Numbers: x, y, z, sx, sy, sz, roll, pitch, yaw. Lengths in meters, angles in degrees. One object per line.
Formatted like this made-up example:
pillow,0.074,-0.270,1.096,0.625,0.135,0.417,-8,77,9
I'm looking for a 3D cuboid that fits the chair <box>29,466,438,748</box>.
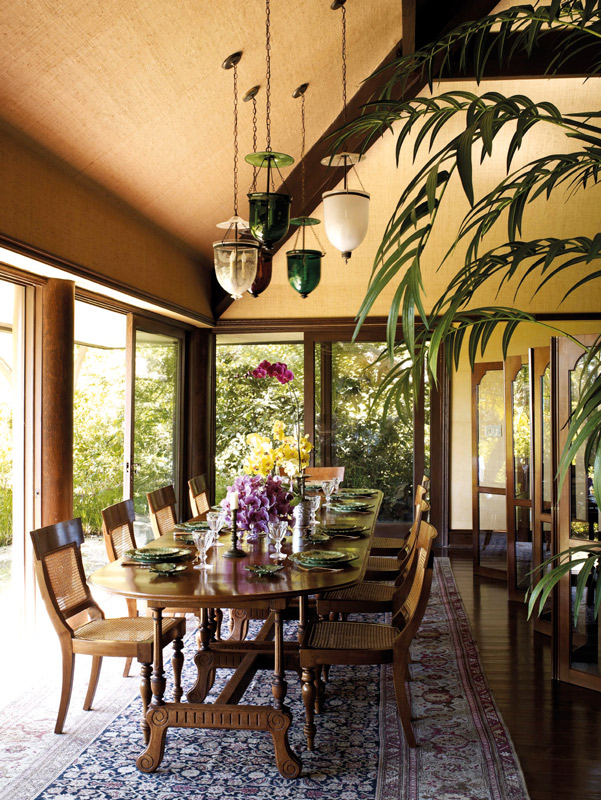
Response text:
chair,-0.088,0.942,2.700,1.230,0.859,1.439,-1,-5,24
